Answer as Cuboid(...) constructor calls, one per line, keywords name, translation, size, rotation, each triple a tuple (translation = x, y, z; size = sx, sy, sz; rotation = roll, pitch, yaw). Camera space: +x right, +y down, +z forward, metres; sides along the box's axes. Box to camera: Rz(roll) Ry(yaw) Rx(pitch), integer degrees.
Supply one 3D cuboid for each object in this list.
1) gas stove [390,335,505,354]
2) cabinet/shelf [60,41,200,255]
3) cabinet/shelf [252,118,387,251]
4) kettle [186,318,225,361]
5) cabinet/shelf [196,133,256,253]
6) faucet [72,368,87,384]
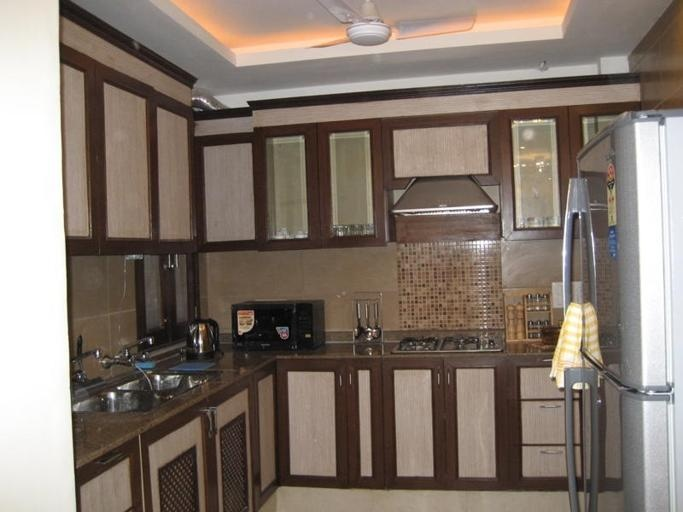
Cuboid(name="gas stove", translation=(0.671, 0.543, 3.966), size=(0.654, 0.043, 0.522), rotation=(-3, 7, 9))
Cuboid(name="cabinet/shelf", translation=(-1.007, -0.501, 2.962), size=(0.364, 0.720, 1.146), rotation=(-1, 0, 4))
Cuboid(name="cabinet/shelf", translation=(-0.118, -0.453, 4.012), size=(0.798, 0.767, 0.266), rotation=(-1, -2, 6))
Cuboid(name="kettle", translation=(-0.825, 0.509, 3.793), size=(0.205, 0.242, 0.220), rotation=(0, -2, -4))
Cuboid(name="cabinet/shelf", translation=(-0.749, -0.420, 4.168), size=(0.444, 0.752, 0.137), rotation=(-2, 6, 16))
Cuboid(name="faucet", translation=(-1.243, 0.568, 2.988), size=(0.063, 0.078, 0.053), rotation=(-8, 8, -38))
